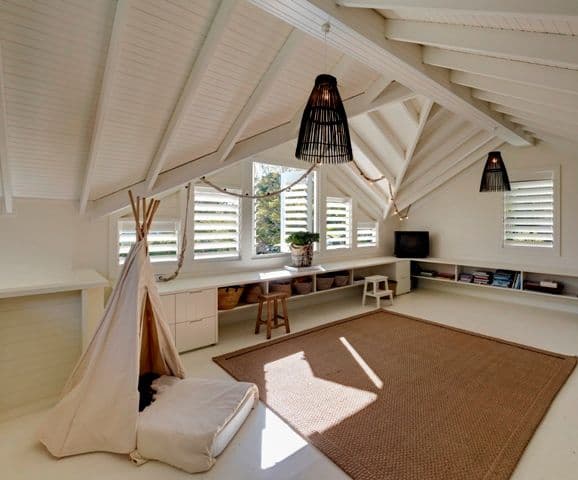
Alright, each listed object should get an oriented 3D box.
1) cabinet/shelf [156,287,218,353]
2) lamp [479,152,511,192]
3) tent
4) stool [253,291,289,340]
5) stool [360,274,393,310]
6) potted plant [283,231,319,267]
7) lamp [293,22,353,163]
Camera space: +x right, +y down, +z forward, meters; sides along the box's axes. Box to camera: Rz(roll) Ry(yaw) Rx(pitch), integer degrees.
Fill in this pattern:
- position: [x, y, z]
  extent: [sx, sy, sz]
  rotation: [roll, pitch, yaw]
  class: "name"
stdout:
- position: [-1.093, 0.853, 3.993]
  extent: [0.426, 0.748, 0.747]
  rotation: [0, 2, 44]
  class: "cabinet/shelf"
- position: [2.426, -0.818, 4.448]
  extent: [0.290, 0.466, 0.212]
  rotation: [4, 11, 28]
  class: "lamp"
- position: [-1.349, 0.671, 3.091]
  extent: [1.161, 1.899, 0.959]
  rotation: [5, 10, -13]
  class: "tent"
- position: [-0.218, 0.949, 4.809]
  extent: [0.425, 0.493, 0.474]
  rotation: [-1, 2, 26]
  class: "stool"
- position: [1.466, 0.853, 6.227]
  extent: [0.426, 0.423, 0.499]
  rotation: [-7, -1, -5]
  class: "stool"
- position: [0.241, 0.143, 5.712]
  extent: [0.460, 0.589, 0.587]
  rotation: [0, 0, 38]
  class: "potted plant"
- position: [0.225, -0.809, 2.484]
  extent: [0.367, 0.587, 0.234]
  rotation: [-1, 9, 1]
  class: "lamp"
